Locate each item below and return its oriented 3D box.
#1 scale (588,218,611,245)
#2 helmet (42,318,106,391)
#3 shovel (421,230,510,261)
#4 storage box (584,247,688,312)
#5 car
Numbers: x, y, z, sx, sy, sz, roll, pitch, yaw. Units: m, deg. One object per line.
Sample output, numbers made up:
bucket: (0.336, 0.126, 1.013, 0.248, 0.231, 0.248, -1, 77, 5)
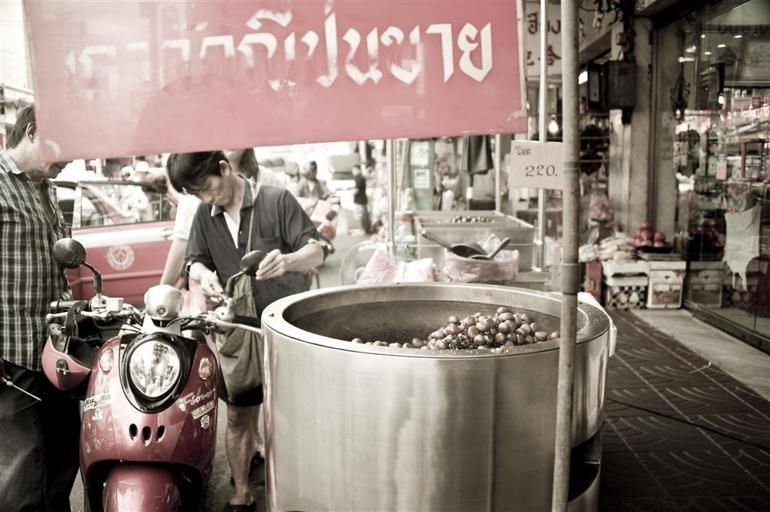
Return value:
scale: (3.386, -0.410, 10.917, 0.377, 0.621, 0.356, 4, 9, 30)
helmet: (-1.801, 0.581, 3.974, 0.201, 0.443, 0.605, 0, 9, 6)
shovel: (0.691, -0.114, 5.651, 0.475, 0.237, 0.656, -3, 8, -30)
storage box: (3.536, 0.268, 9.798, 1.040, 0.730, 0.737, 1, 17, -1)
car: (-3.026, -0.222, 8.127, 1.722, 1.717, 1.130, 0, 21, -5)
